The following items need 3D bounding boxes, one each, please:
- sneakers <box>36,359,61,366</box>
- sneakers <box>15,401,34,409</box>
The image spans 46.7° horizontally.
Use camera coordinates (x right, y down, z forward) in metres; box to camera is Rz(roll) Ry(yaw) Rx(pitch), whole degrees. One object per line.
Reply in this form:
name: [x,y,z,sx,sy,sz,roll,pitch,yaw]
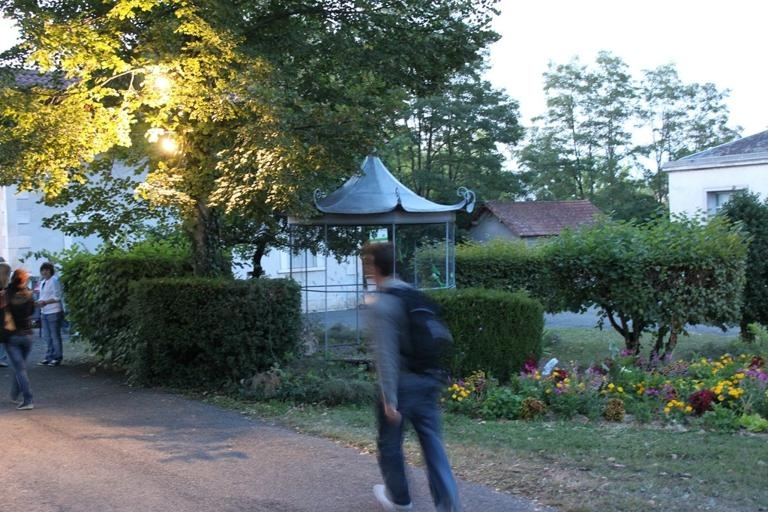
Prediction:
sneakers: [-7.362,2.354,19.734,0.202,0.104,0.295,-7,-19,27]
sneakers: [-6.233,2.565,15.442,0.376,0.136,0.130,-2,-2,23]
